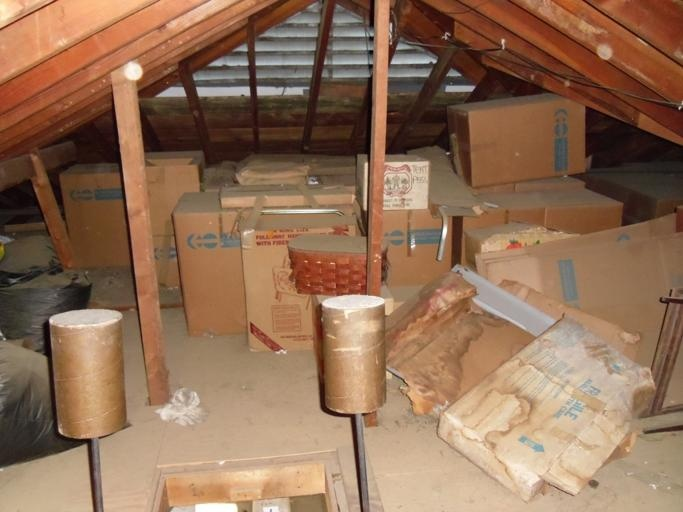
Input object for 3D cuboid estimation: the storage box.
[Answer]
[{"bbox_3d":[0.173,0.233,3.092,2.935,1.662,1.290,-5,26,-4],"label":"storage box"}]
